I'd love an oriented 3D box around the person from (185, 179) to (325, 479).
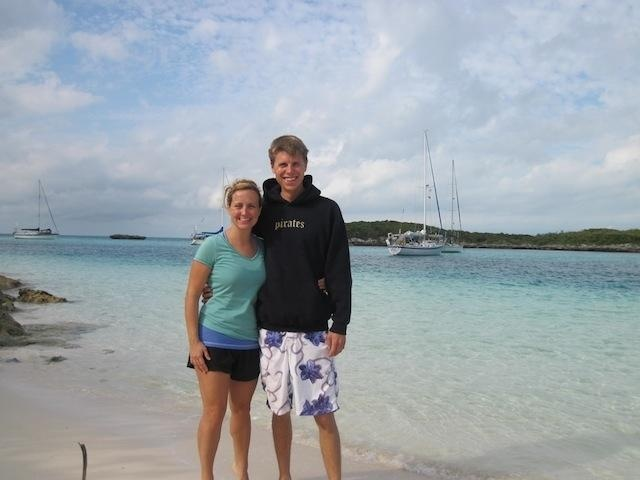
[{"bbox_3d":[-1.014,1.013,5.115,0.729,3.328,0.354,1,5,-32],"label":"person"}]
